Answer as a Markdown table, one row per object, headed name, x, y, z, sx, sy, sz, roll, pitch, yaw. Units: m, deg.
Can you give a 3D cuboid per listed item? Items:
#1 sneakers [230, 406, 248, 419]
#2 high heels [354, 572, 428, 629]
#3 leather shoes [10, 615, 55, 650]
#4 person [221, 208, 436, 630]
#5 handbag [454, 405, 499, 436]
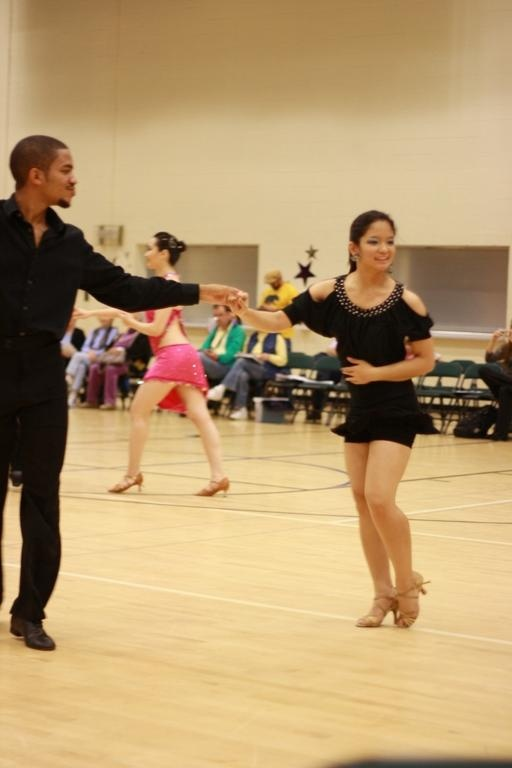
| name | x | y | z | sx | sy | sz | roll | pitch | yaw |
| --- | --- | --- | --- | --- | --- | --- | --- | --- | --- |
| sneakers | -0.239 | 0.555 | 12.364 | 0.422 | 0.242 | 0.139 | 3 | -2 | -15 |
| high heels | 0.588 | 0.871 | 2.782 | 0.127 | 0.192 | 0.419 | -8 | -8 | 43 |
| leather shoes | -0.742 | 0.834 | 2.354 | 0.218 | 0.079 | 0.074 | 3 | 3 | 40 |
| person | 0.373 | 0.131 | 2.760 | 0.630 | 1.638 | 0.362 | 2 | -3 | 13 |
| handbag | 3.486 | 0.599 | 10.958 | 0.637 | 0.555 | 0.457 | 2 | -3 | 15 |
